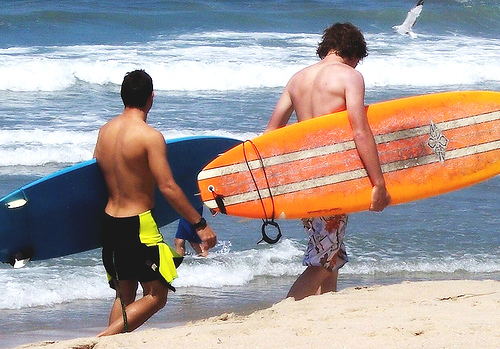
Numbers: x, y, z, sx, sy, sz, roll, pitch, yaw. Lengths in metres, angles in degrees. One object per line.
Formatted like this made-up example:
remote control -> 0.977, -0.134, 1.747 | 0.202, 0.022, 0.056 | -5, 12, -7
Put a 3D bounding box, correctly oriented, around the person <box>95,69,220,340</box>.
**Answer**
person -> -1.388, 0.331, 11.642 | 1.295, 3.291, 0.539 | -6, 9, -8
